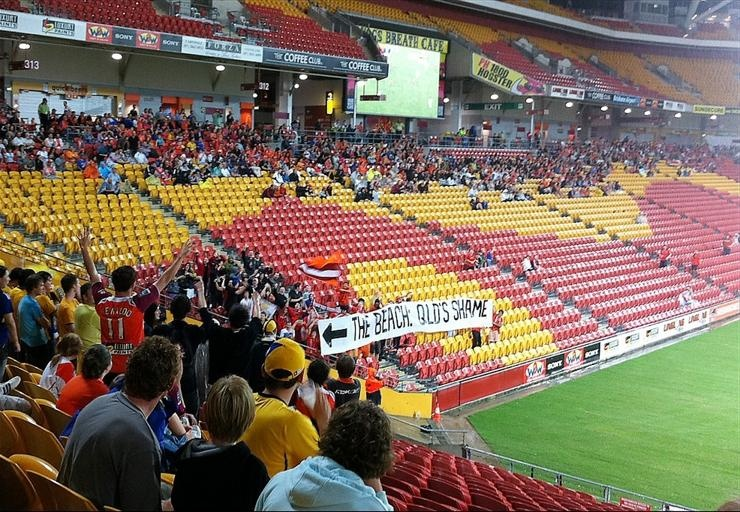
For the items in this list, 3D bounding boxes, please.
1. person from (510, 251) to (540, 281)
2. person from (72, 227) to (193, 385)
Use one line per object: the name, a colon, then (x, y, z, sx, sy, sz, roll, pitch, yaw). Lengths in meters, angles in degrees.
person: (5.181, 0.396, 23.469, 0.846, 0.239, 0.901, 21, 54, 12)
person: (-3.410, 0.651, 9.875, 1.465, 2.730, 0.518, 12, 15, -10)
